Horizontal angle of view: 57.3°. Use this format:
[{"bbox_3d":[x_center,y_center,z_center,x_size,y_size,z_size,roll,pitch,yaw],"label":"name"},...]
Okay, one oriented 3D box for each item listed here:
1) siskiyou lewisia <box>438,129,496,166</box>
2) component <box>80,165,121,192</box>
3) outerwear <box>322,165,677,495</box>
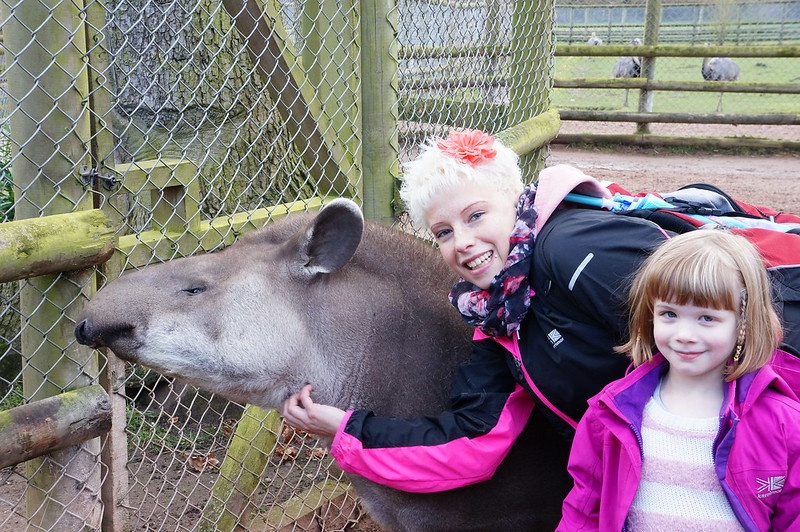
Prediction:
[{"bbox_3d":[0.243,-0.423,2.679,0.249,0.092,0.249,2,45,0],"label":"siskiyou lewisia"},{"bbox_3d":[-1.171,-0.345,2.870,0.044,0.062,0.117,-7,-5,33],"label":"component"},{"bbox_3d":[0.378,0.346,2.581,0.719,1.582,0.643,3,12,16],"label":"outerwear"}]
